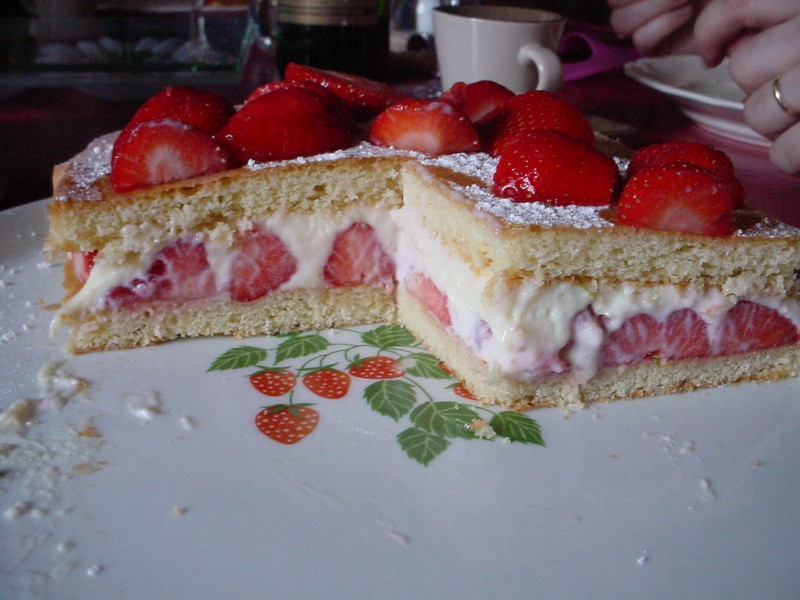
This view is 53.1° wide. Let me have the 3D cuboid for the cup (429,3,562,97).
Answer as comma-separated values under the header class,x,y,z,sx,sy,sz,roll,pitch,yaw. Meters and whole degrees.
class,x,y,z,sx,sy,sz,roll,pitch,yaw
cup,0.361,-0.905,2.911,0.427,0.306,0.474,-10,35,-19
